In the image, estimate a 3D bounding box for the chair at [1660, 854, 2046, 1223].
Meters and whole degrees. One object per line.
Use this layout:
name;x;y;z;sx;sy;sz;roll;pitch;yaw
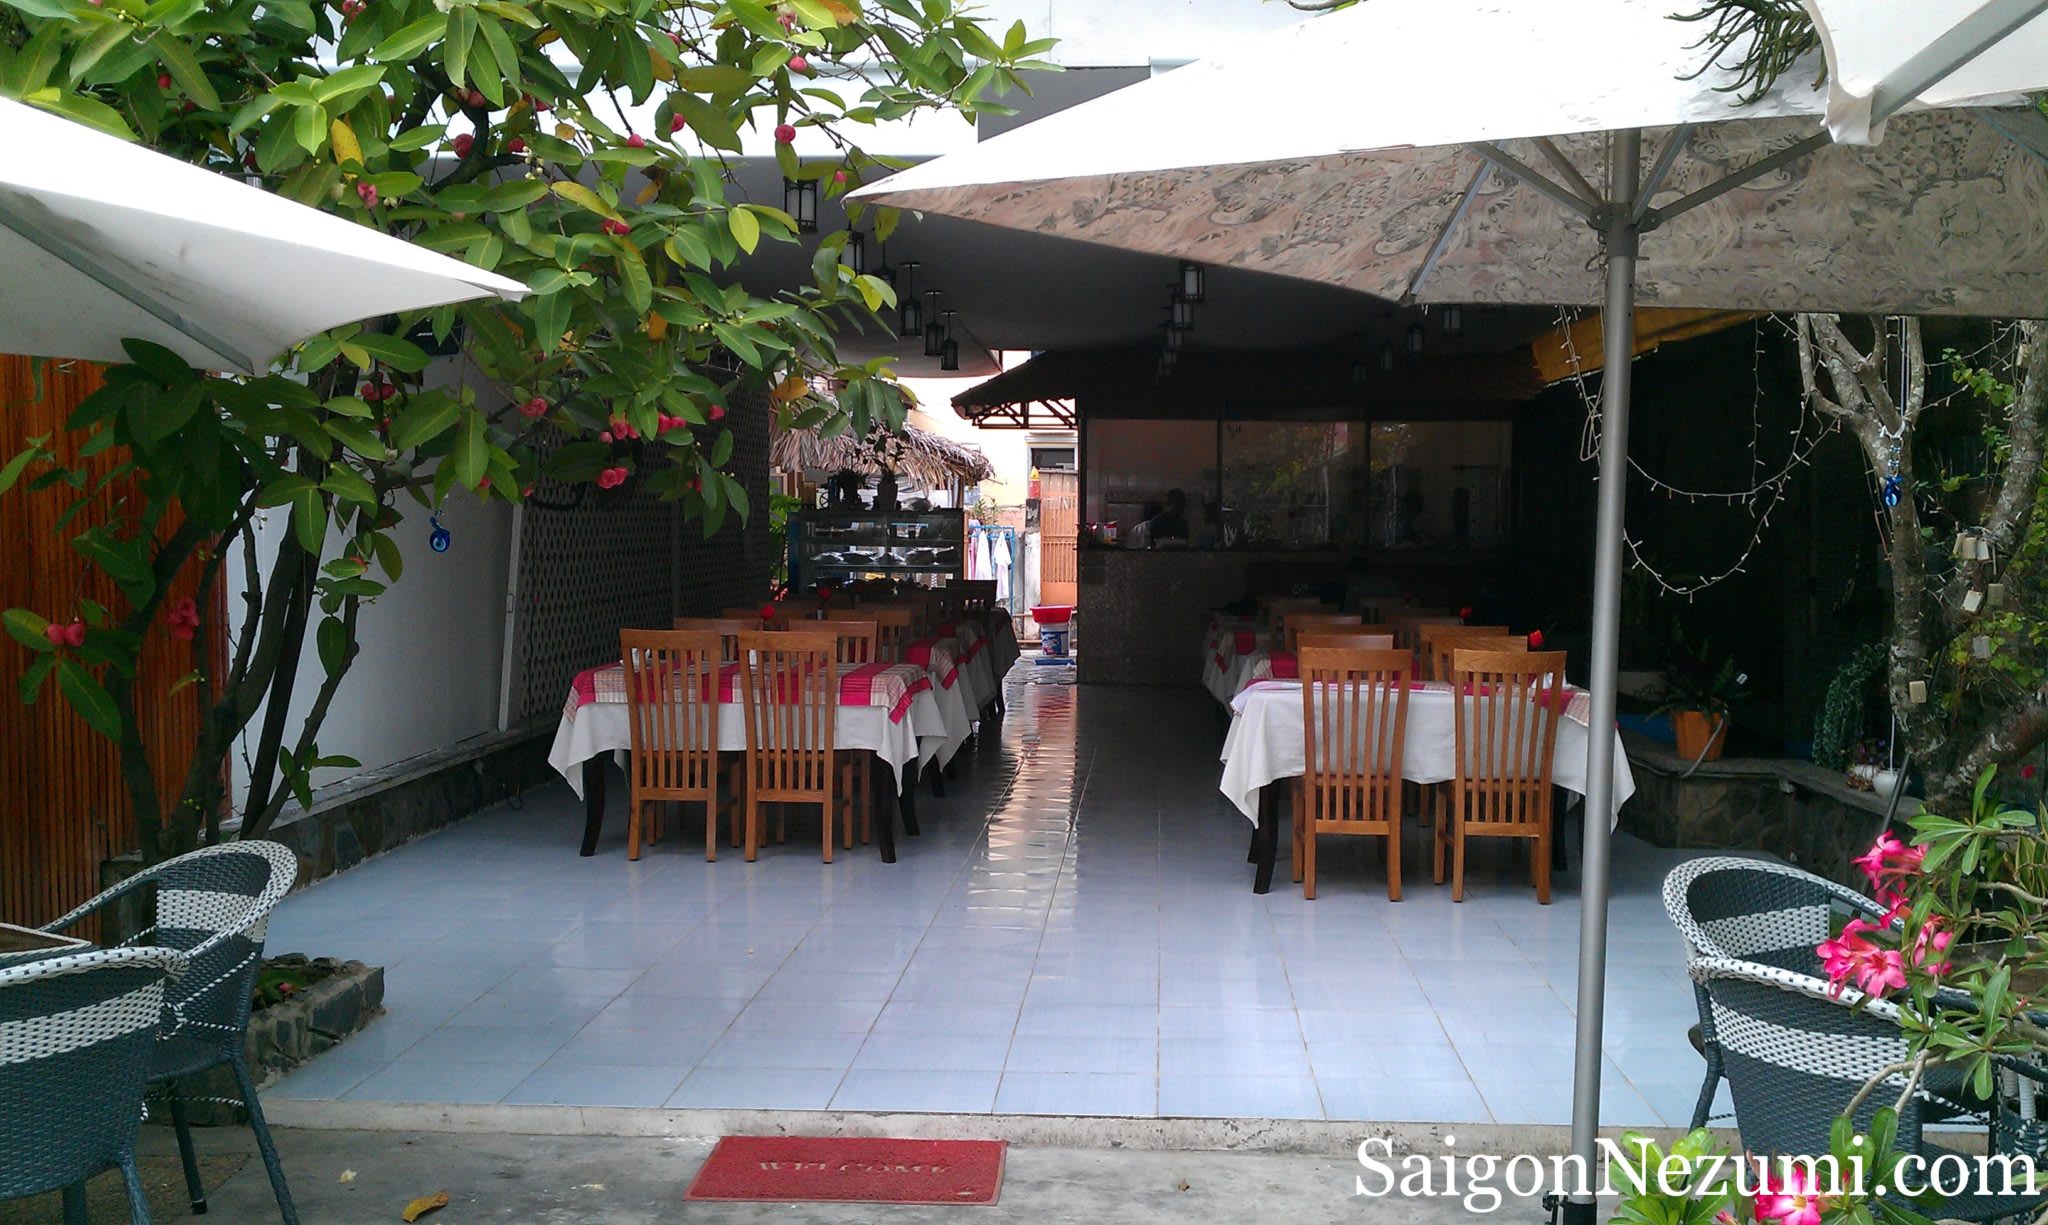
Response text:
chair;2.056;1.030;3.593;1.064;0.856;0.921;-1;3;19

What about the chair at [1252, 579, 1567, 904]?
chair;2.116;0.697;7.521;1.612;0.957;1.522;1;3;2

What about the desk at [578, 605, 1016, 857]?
desk;-1.083;0.608;8.422;2.135;0.723;1.684;1;10;5

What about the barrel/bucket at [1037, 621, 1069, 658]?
barrel/bucket;0.404;0.368;18.274;0.451;0.403;0.433;-1;0;0
